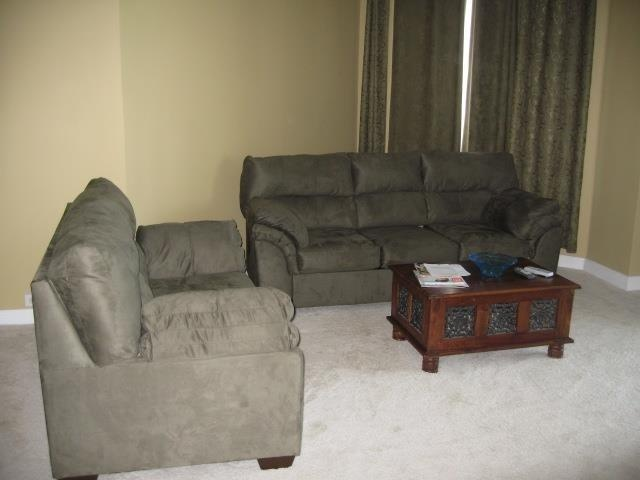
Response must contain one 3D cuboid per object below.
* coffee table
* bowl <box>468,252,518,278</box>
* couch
[{"bbox_3d":[1.058,0.482,3.625,1.109,0.578,0.540,-6,16,-11],"label":"coffee table"},{"bbox_3d":[1.126,0.127,3.561,0.211,0.077,0.203,-1,8,0],"label":"bowl"},{"bbox_3d":[0.646,-0.157,4.567,2.472,1.053,1.049,-3,20,-13],"label":"couch"}]
